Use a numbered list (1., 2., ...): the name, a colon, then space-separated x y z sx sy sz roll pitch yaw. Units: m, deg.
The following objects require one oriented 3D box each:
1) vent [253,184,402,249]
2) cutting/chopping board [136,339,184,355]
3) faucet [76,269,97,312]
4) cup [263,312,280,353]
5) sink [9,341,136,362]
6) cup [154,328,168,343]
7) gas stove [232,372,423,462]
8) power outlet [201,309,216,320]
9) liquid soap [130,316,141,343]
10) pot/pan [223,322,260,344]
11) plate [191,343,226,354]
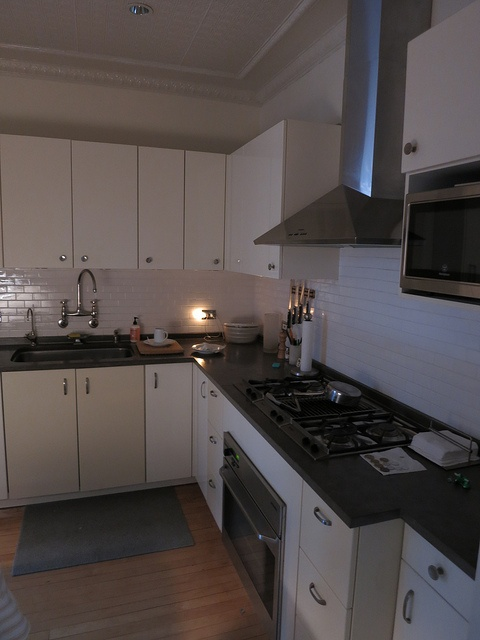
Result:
1. vent: 0.402 -0.414 1.834 0.362 0.244 0.750 -1 10 -16
2. cutting/chopping board: -0.555 0.180 3.217 0.298 0.039 0.372 -1 10 -18
3. faucet: -1.087 -0.196 3.323 0.137 0.317 0.058 -2 9 -21
4. cup: 0.224 0.086 3.259 0.128 0.253 0.239 3 9 14
5. sink: -1.142 0.228 3.221 0.746 0.101 0.260 -3 10 -24
6. cup: -0.560 0.109 3.263 0.095 0.106 0.063 2 5 23
7. gas stove: 0.358 0.370 1.988 0.527 0.065 0.848 -2 10 -19
8. power outlet: -0.237 -0.040 3.675 0.124 0.082 0.077 -1 9 -14
9. liquid soap: -0.775 0.073 3.434 0.068 0.163 0.146 0 9 -12
10. pot/pan: 0.014 0.101 3.552 0.268 0.138 0.292 2 9 1
11. plate: -0.224 0.190 3.226 0.217 0.043 0.306 3 9 6
